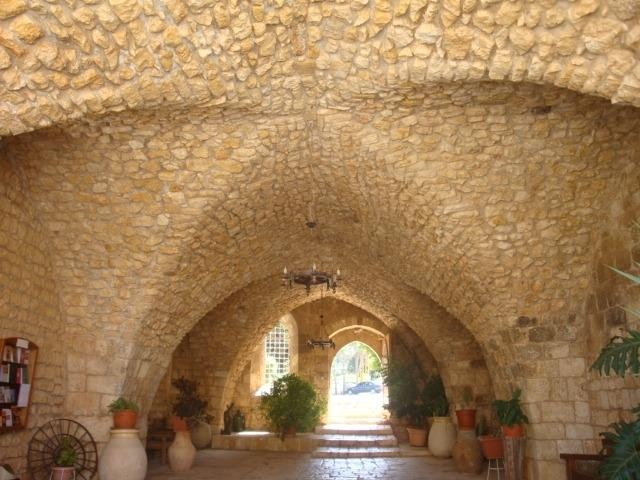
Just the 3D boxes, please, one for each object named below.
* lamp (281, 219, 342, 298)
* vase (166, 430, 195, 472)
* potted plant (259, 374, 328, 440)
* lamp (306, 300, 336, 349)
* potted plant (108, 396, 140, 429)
[{"bbox_3d":[-0.147,0.247,9.504,1.016,1.140,1.046,-4,-30,10],"label":"lamp"},{"bbox_3d":[-2.226,3.400,8.949,0.492,0.701,0.508,1,-30,-6],"label":"vase"},{"bbox_3d":[-0.579,3.588,12.123,1.248,1.493,1.255,-9,6,-30],"label":"potted plant"},{"bbox_3d":[0.068,2.243,14.669,0.728,1.291,0.741,-4,10,-28],"label":"lamp"},{"bbox_3d":[-2.661,2.427,7.606,0.408,0.342,0.422,1,-17,-11],"label":"potted plant"}]
